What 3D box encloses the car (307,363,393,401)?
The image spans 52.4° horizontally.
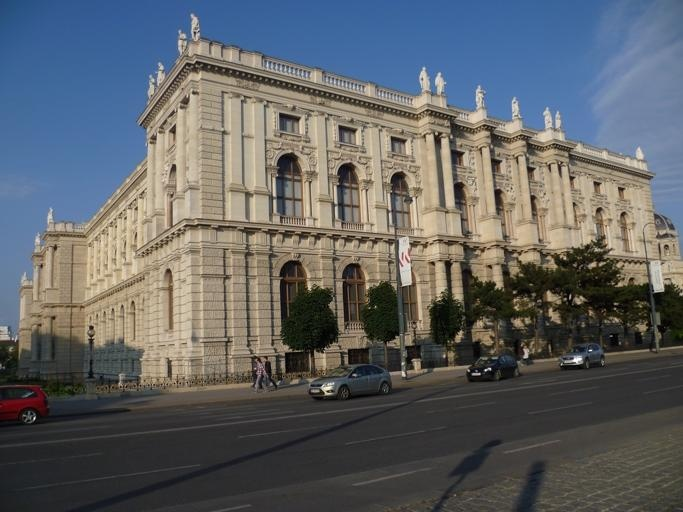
[{"bbox_3d":[0.495,6.315,34.602,4.157,1.637,1.404,-2,-3,-37],"label":"car"}]

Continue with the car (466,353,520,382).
[{"bbox_3d":[9.044,6.776,41.787,1.406,1.146,3.787,-5,-3,43],"label":"car"}]
